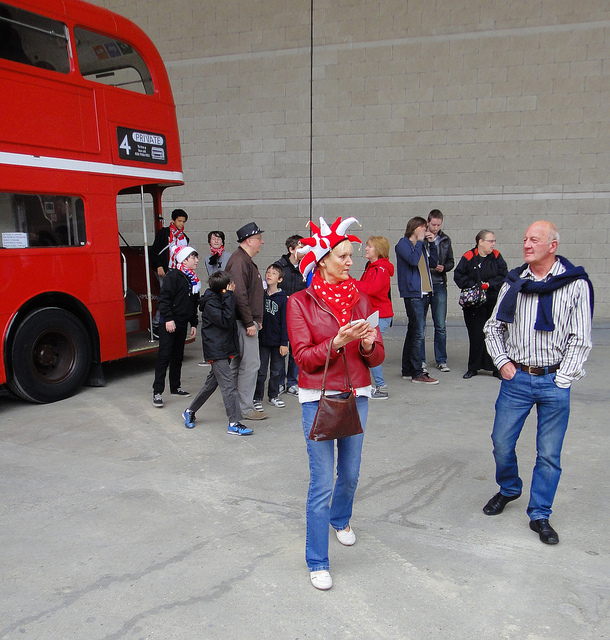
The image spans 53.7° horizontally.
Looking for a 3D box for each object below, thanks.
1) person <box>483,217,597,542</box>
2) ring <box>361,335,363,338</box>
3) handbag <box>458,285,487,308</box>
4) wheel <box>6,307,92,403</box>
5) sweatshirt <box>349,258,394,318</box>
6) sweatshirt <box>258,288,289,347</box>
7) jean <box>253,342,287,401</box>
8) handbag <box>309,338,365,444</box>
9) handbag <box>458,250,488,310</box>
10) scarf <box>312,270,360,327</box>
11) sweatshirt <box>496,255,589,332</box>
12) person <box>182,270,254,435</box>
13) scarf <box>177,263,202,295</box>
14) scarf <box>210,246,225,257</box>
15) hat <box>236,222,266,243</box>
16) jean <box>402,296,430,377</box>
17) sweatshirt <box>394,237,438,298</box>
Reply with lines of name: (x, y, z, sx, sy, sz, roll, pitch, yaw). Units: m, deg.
person: (1.455, 0.349, 3.730, 0.431, 1.906, 0.618, -6, 10, -27)
ring: (0.285, 0.080, 3.033, 0.010, 0.008, 0.010, 0, 17, 0)
handbag: (2.128, -0.317, 7.618, 0.294, 0.255, 0.123, 6, 9, 30)
wheel: (-2.874, 0.386, 6.699, 0.363, 1.035, 1.129, -2, 3, 33)
sweatshirt: (0.803, -0.398, 6.572, 0.502, 0.811, 0.455, 9, 15, -5)
sweatshirt: (-0.344, -0.017, 6.494, 0.389, 0.614, 0.257, -4, 9, -17)
jean: (-0.375, 0.562, 6.605, 0.303, 0.676, 0.533, 0, 9, 7)
handbag: (0.182, 0.395, 3.228, 0.224, 0.657, 0.384, 2, 9, 21)
handbag: (2.165, -0.525, 7.631, 0.300, 0.694, 0.283, -9, 12, -42)
scarf: (0.167, -0.125, 3.272, 0.223, 0.268, 0.185, -1, 16, -10)
sweatshirt: (1.386, -0.166, 3.612, 0.474, 0.490, 0.422, 12, 17, 36)
person: (-0.841, 0.298, 5.786, 0.745, 1.536, 0.465, 0, 9, 9)
scarf: (-1.281, -0.483, 6.830, 0.150, 0.295, 0.239, -17, 5, -8)
scarf: (-1.271, -1.033, 8.902, 0.173, 0.134, 0.196, 3, -25, -14)
hat: (-0.558, -0.908, 6.064, 0.254, 0.090, 0.208, -26, 9, 12)
jean: (1.342, 0.201, 7.523, 0.349, 0.935, 0.395, 5, 12, -3)
sweatshirt: (1.423, -0.667, 7.525, 0.485, 0.794, 0.553, -4, -1, 45)
